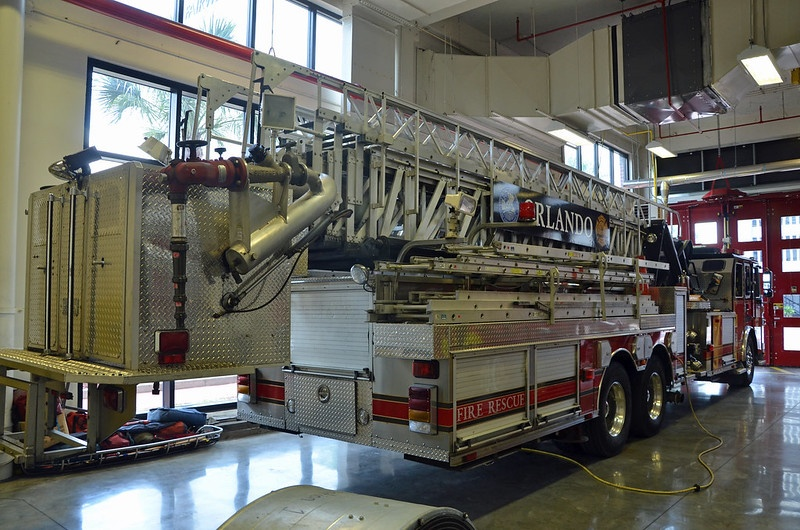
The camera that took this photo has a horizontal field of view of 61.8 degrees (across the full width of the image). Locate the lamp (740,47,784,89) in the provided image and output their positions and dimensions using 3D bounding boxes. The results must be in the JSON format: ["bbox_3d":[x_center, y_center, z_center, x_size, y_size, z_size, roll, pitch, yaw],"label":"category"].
[{"bbox_3d":[6.105,-3.357,11.265,0.496,0.320,0.924,-1,-24,44],"label":"lamp"}]

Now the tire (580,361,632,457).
[{"bbox_3d":[2.746,1.940,8.996,0.399,1.304,1.215,-5,-12,35],"label":"tire"}]

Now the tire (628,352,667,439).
[{"bbox_3d":[3.753,1.983,10.243,0.415,1.267,1.254,1,0,39],"label":"tire"}]
